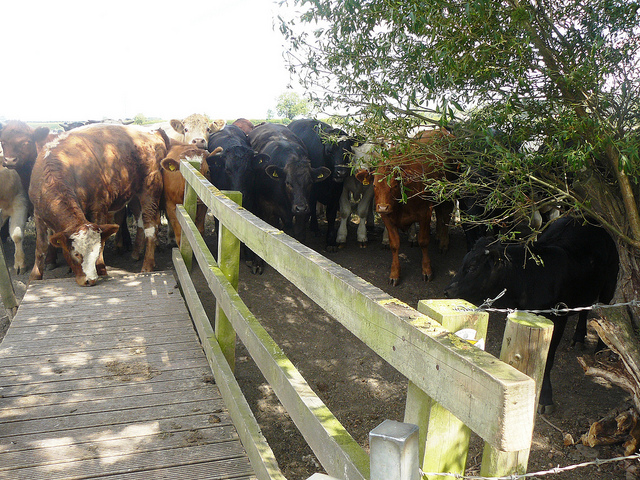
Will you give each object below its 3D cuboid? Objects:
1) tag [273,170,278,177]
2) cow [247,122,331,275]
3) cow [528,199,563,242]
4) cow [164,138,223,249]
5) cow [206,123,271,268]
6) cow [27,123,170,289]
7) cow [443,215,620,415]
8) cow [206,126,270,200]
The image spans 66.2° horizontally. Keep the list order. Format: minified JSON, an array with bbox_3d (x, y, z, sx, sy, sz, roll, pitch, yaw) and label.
[{"bbox_3d":[-0.721,-1.091,7.865,0.060,0.087,0.021,-7,13,-26],"label":"tag"},{"bbox_3d":[-0.823,-0.983,9.262,0.831,2.045,3.541,-6,26,-18],"label":"cow"},{"bbox_3d":[2.454,-0.214,5.364,0.223,0.480,0.264,21,-3,-38],"label":"cow"},{"bbox_3d":[-2.058,-0.797,7.792,0.774,1.898,3.002,-2,6,-18],"label":"cow"},{"bbox_3d":[-1.591,-0.722,9.398,0.979,2.098,3.624,0,8,-10],"label":"cow"},{"bbox_3d":[-3.197,-0.644,6.943,1.379,2.290,2.902,0,6,0],"label":"cow"},{"bbox_3d":[2.279,0.594,4.968,2.676,1.578,0.727,-8,5,-30],"label":"cow"},{"bbox_3d":[-1.369,-1.443,8.605,0.736,1.289,2.328,-5,20,-9],"label":"cow"}]
